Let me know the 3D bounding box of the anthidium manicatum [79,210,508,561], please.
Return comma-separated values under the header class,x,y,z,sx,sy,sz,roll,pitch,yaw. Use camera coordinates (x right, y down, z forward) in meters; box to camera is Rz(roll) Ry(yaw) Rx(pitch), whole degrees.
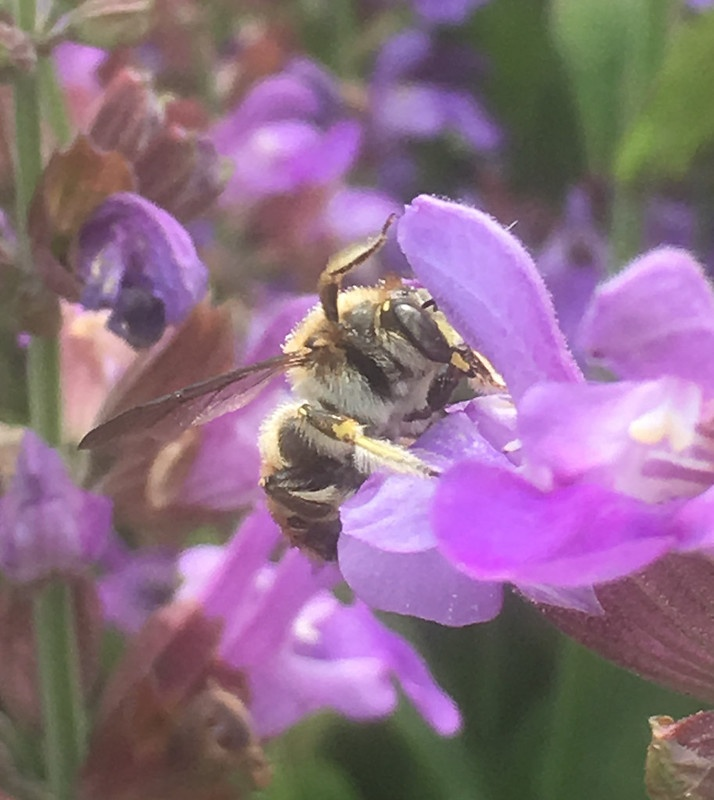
class,x,y,z,sx,sy,sz,roll,pitch,yaw
anthidium manicatum,-0.003,0.013,0.662,0.226,0.242,0.096,-7,58,-38
